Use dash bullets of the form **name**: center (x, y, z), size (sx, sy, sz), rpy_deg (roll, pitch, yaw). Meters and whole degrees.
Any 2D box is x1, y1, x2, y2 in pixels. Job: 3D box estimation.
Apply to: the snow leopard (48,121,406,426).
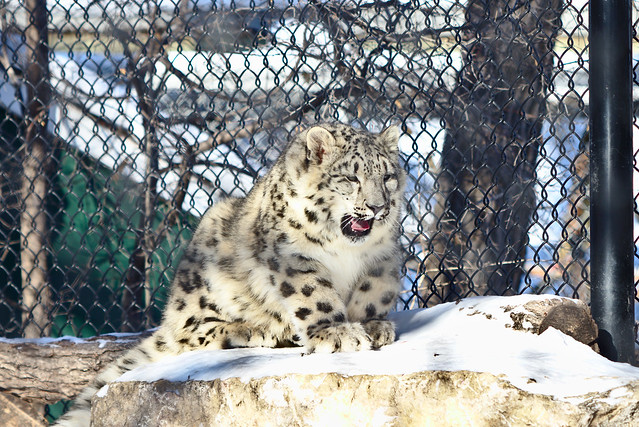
- **snow leopard**: center (-0.453, 0.287, 11.530), size (2.314, 2.078, 0.631), rpy_deg (-2, -3, 17)
